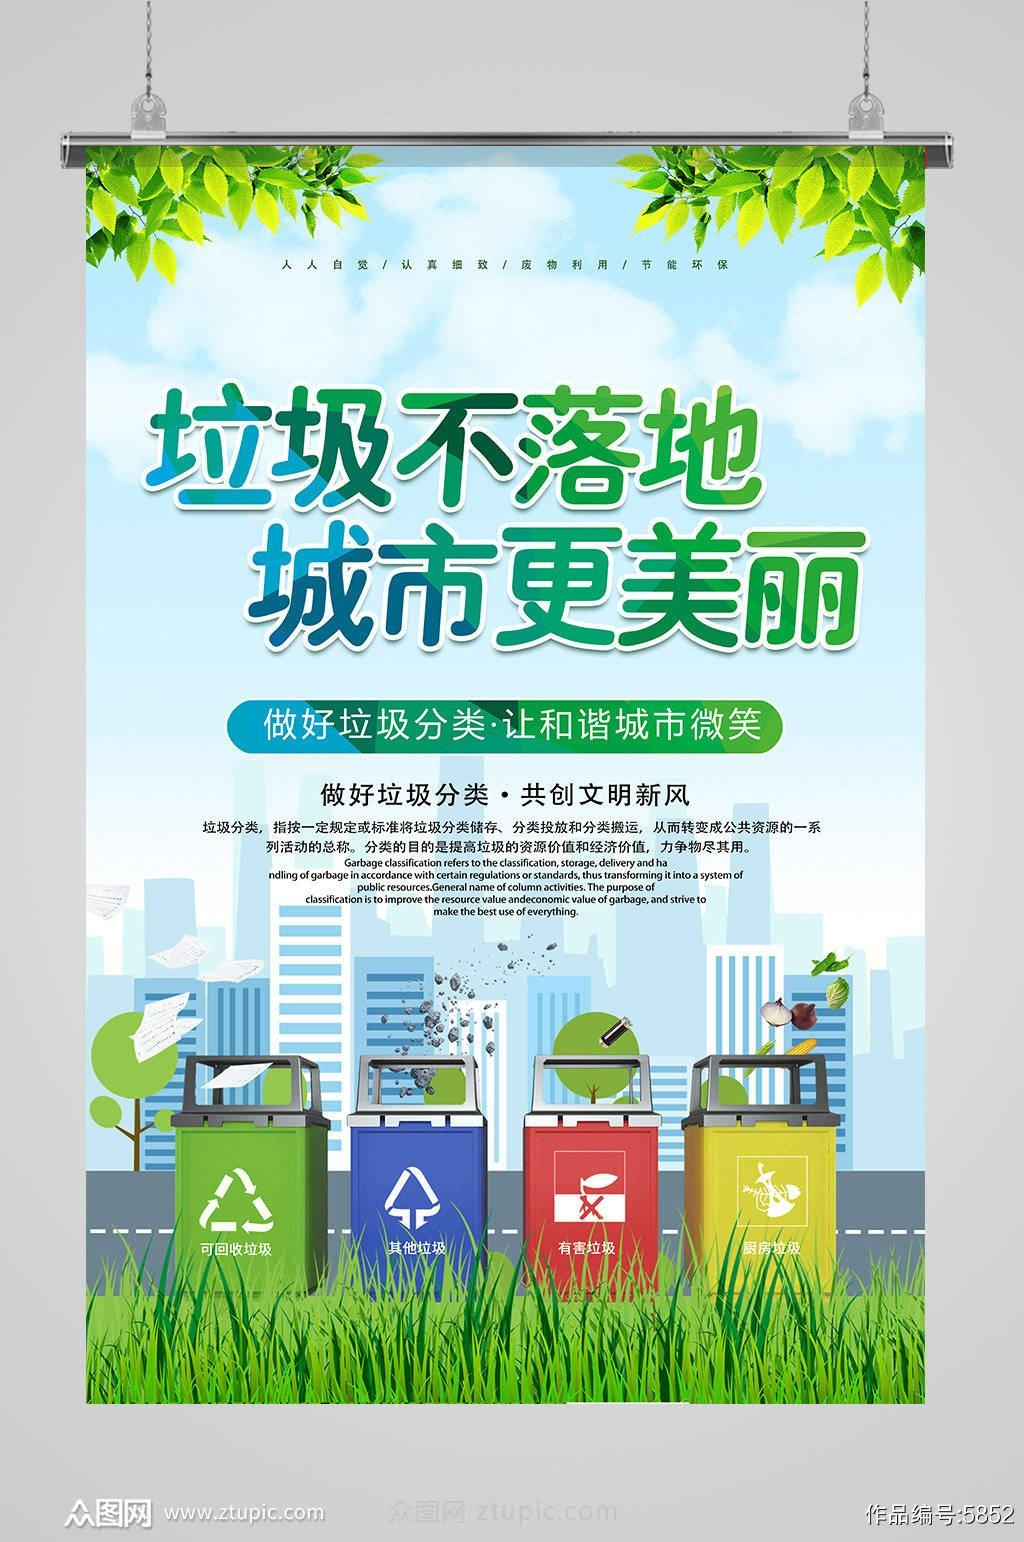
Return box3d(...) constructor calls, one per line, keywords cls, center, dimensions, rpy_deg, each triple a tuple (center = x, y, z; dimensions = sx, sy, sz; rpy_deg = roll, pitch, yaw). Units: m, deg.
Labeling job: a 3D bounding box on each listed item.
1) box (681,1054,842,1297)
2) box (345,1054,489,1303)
box3d(cls="box", center=(0.429, 0.690, 3.643), dimensions=(0.195, 0.407, 0.229), rpy_deg=(-1, -15, -4))
box3d(cls="box", center=(-0.170, 0.575, 3.643), dimensions=(0.240, 0.506, 0.293), rpy_deg=(3, 35, -2))
